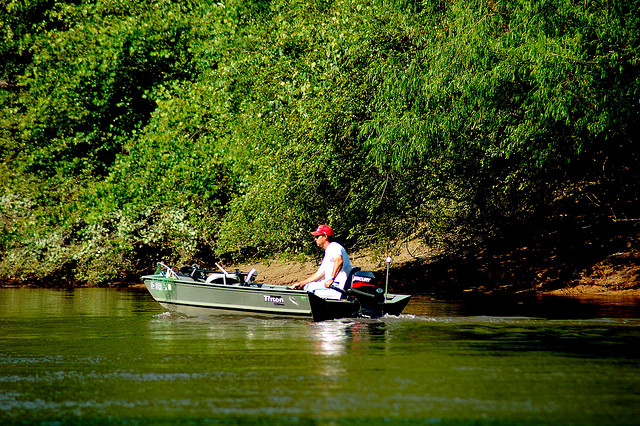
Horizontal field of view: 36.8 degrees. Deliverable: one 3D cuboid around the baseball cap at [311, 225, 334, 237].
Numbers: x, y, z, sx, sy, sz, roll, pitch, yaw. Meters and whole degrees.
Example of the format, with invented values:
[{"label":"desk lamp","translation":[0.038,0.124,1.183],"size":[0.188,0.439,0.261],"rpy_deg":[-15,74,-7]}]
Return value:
[{"label":"baseball cap","translation":[0.064,0.410,23.606],"size":[0.408,0.228,0.271],"rpy_deg":[-2,1,13]}]
